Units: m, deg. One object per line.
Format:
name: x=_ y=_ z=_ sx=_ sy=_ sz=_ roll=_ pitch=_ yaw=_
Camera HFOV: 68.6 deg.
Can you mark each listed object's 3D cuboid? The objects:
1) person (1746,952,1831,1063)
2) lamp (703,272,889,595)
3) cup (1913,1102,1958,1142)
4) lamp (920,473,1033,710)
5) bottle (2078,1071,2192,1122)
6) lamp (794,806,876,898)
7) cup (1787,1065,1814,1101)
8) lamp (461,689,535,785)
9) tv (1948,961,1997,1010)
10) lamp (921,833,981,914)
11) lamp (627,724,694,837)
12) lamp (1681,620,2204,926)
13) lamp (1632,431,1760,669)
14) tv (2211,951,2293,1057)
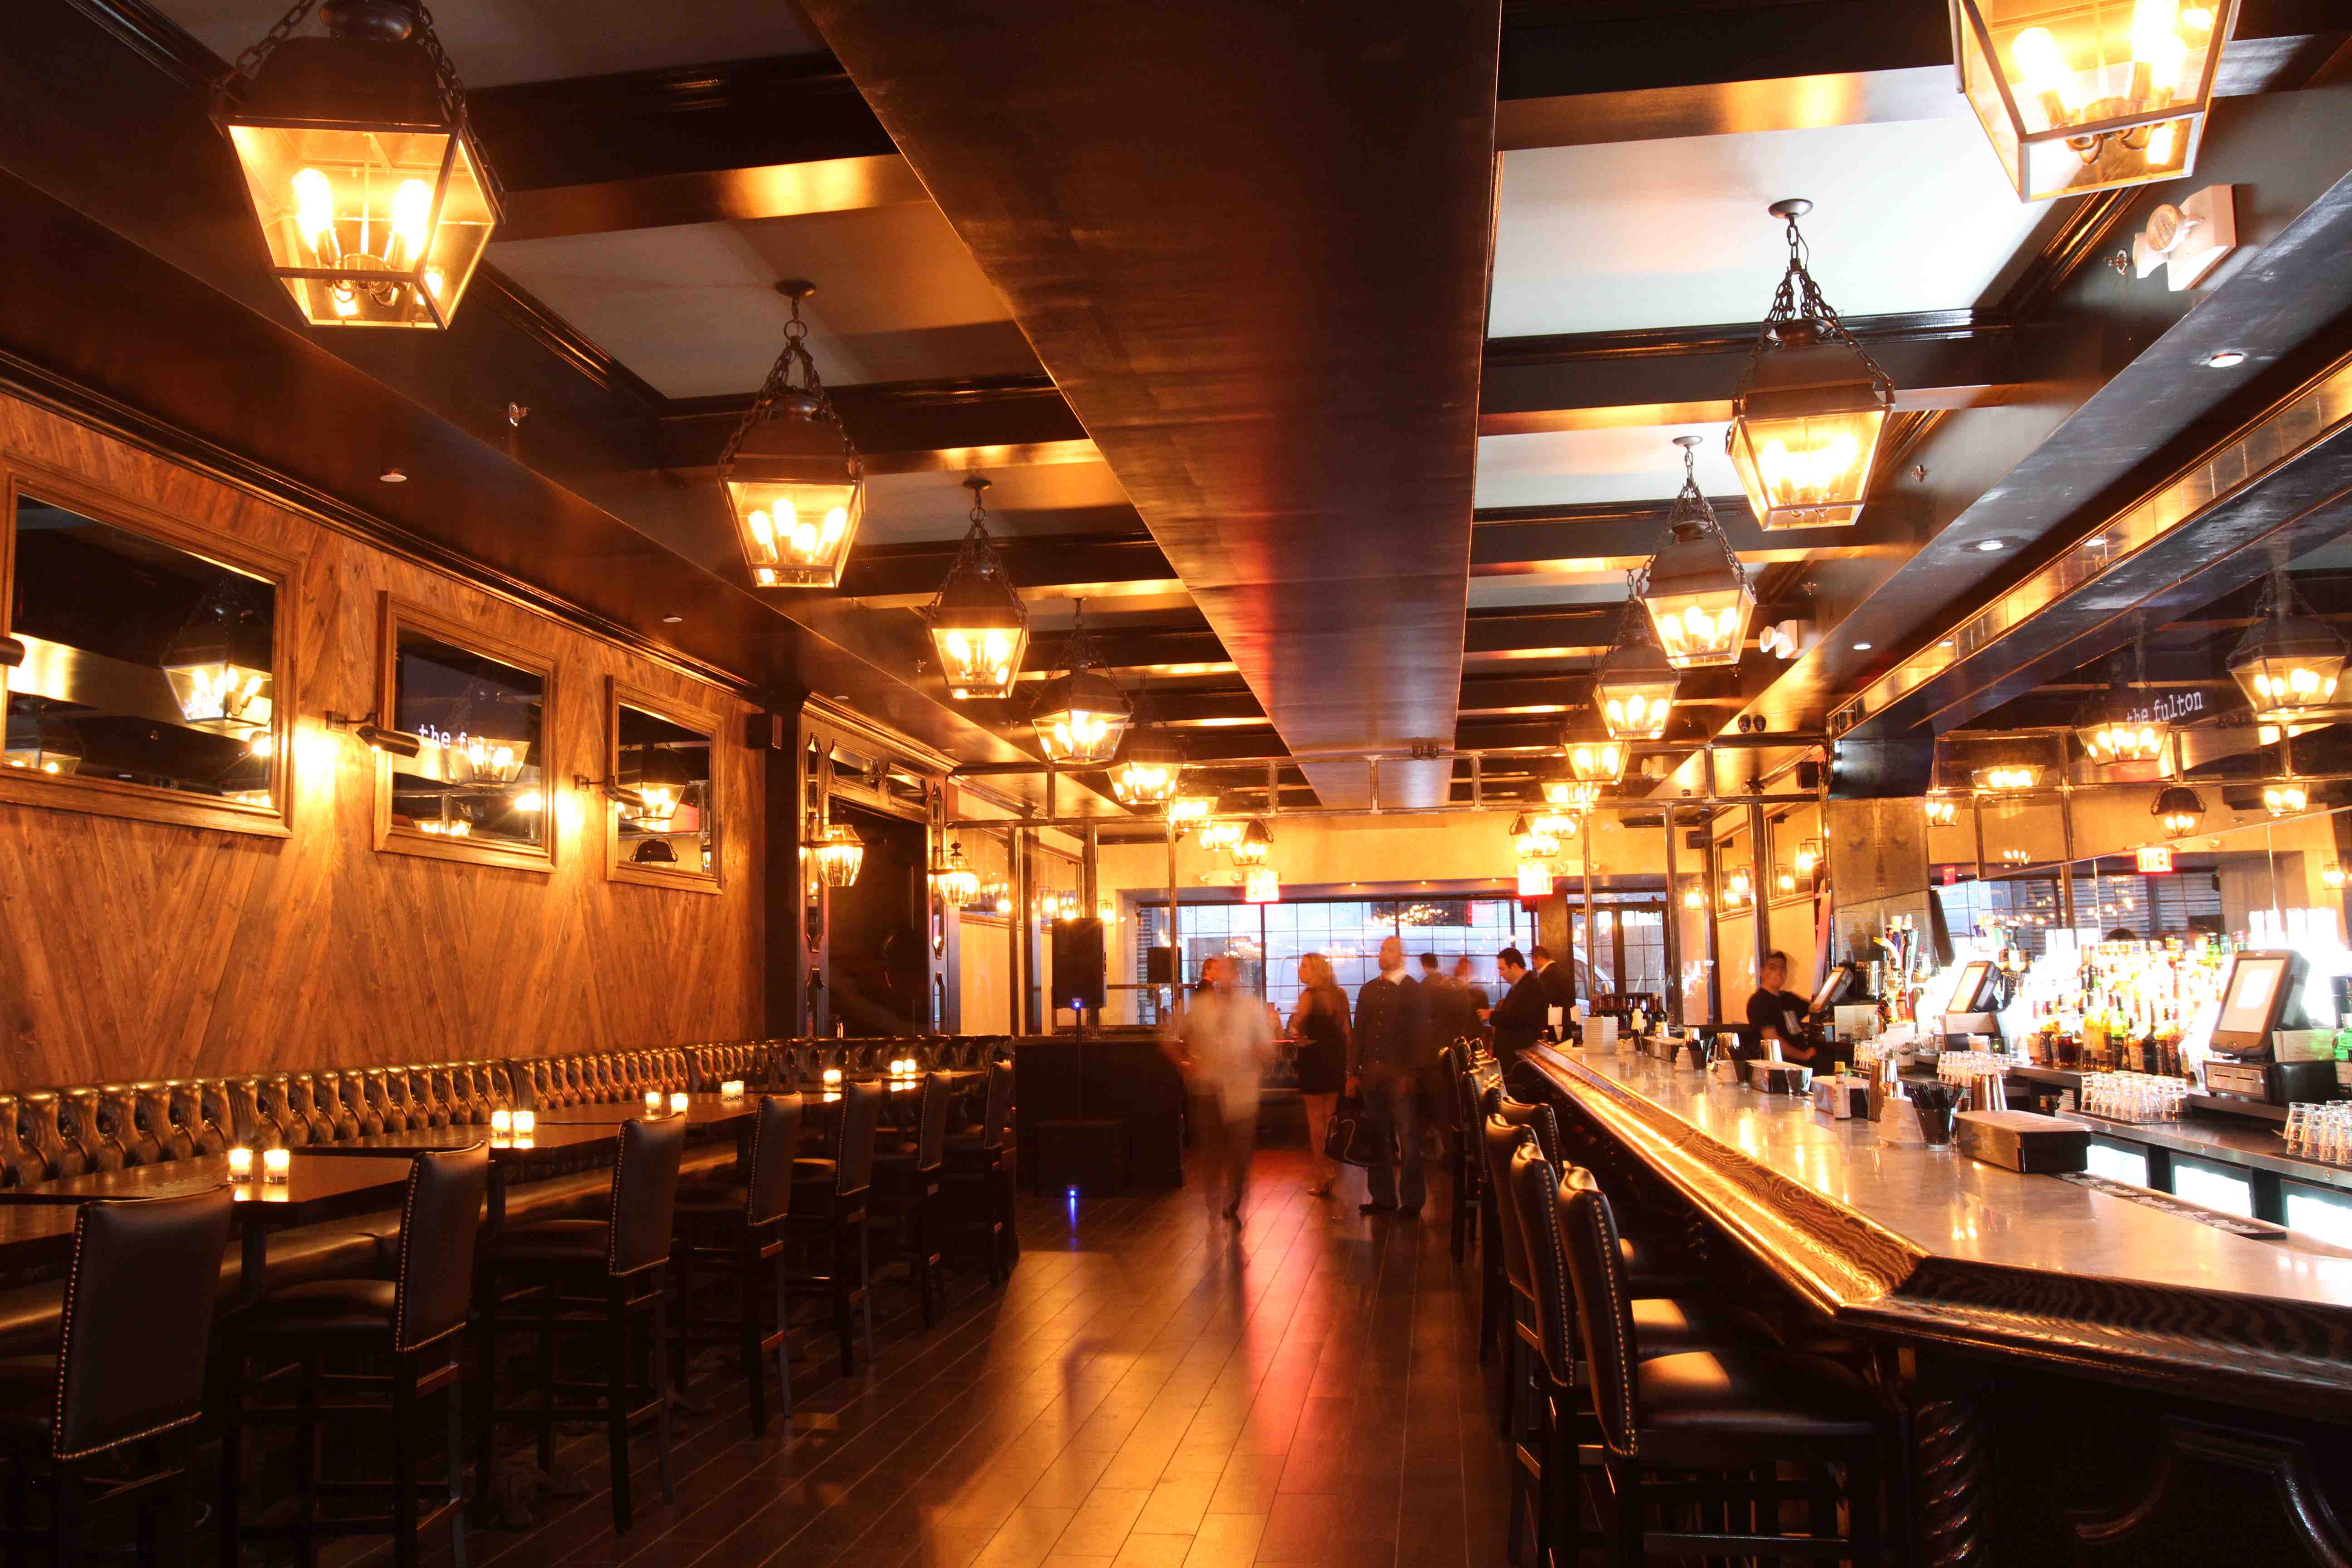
person: x=4.510 y=1.636 z=12.557 sx=0.577 sy=0.828 sz=0.634 roll=-9 pitch=5 yaw=-15
lamp: x=-1.577 y=-1.448 z=7.020 sx=0.514 sy=1.531 sz=1.214 roll=-1 pitch=-8 yaw=-15
cup: x=2.470 y=1.096 z=5.563 sx=0.104 sy=0.079 sz=0.107 roll=2 pitch=-11 yaw=0
lamp: x=-1.013 y=-1.040 z=8.729 sx=0.418 sy=1.374 sz=1.523 roll=-2 pitch=-8 yaw=-8
bottle: x=3.870 y=1.245 z=6.948 sx=0.267 sy=0.137 sz=0.376 roll=1 pitch=-4 yaw=13
lamp: x=-2.803 y=0.549 z=13.460 sx=0.597 sy=0.704 sz=0.661 roll=-6 pitch=-9 yaw=36
cup: x=2.633 y=1.264 z=7.281 sx=0.128 sy=0.098 sz=0.106 roll=0 pitch=-1 yaw=-6
lamp: x=-3.850 y=-0.263 z=9.796 sx=0.382 sy=0.444 sz=0.439 roll=-7 pitch=-11 yaw=17
tv: x=4.989 y=1.278 z=10.679 sx=0.086 sy=0.341 sz=0.309 roll=15 pitch=-8 yaw=0
lamp: x=-2.252 y=0.886 z=17.328 sx=0.646 sy=1.097 sz=0.687 roll=-2 pitch=-1 yaw=-8
lamp: x=-3.416 y=-0.005 z=11.550 sx=0.482 sy=0.572 sz=0.541 roll=-6 pitch=-3 yaw=17
lamp: x=5.258 y=-0.114 z=11.680 sx=1.127 sy=2.070 sz=2.181 roll=0 pitch=-7 yaw=-13
lamp: x=2.571 y=-1.181 z=8.551 sx=0.491 sy=1.325 sz=1.296 roll=-5 pitch=-8 yaw=17
tv: x=4.503 y=0.919 z=7.188 sx=0.128 sy=0.377 sz=0.378 roll=13 pitch=15 yaw=13
